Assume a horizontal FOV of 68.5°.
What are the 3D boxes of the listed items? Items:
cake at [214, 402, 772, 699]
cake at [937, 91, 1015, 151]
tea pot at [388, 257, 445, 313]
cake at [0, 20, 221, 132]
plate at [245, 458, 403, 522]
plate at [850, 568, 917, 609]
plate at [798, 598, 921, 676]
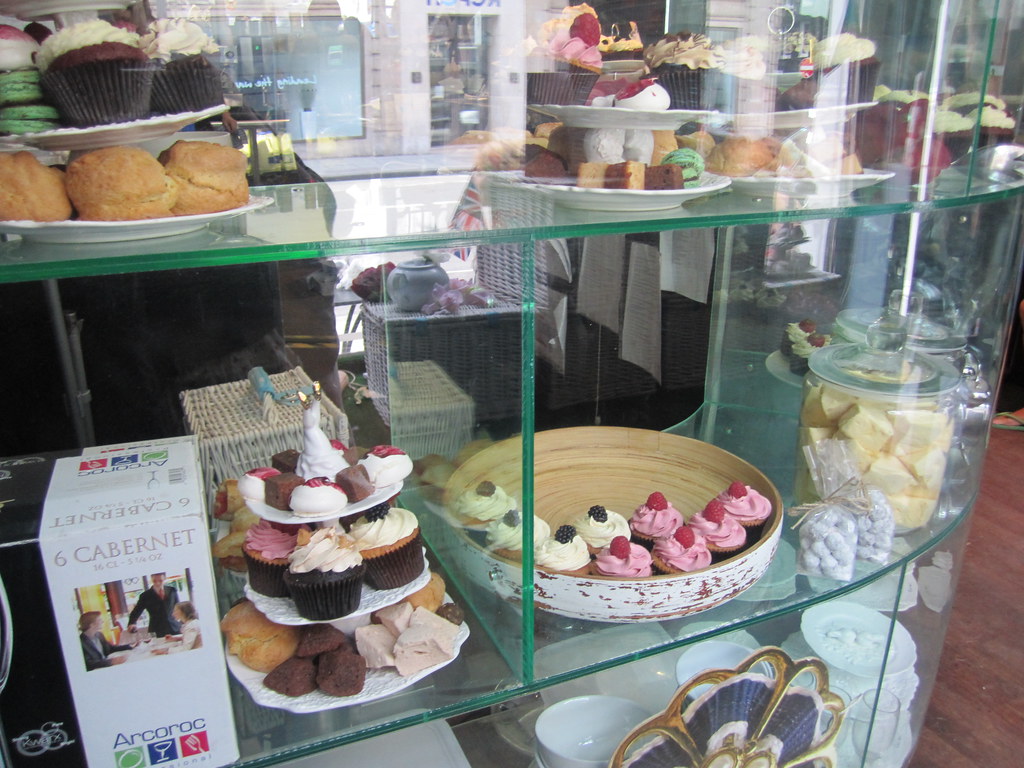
[{"bbox_3d":[0.019,0.234,1.140,0.826,0.085,0.417,0,18,-10],"label":"cake"},{"bbox_3d":[0.721,-0.391,1.165,0.136,0.030,0.097,9,56,-5],"label":"cake"},{"bbox_3d":[-0.147,-0.150,1.137,0.100,0.058,0.102,2,21,-1],"label":"tea pot"},{"bbox_3d":[-0.445,-0.334,0.873,0.187,0.070,0.153,-15,15,-41],"label":"cake"},{"bbox_3d":[-0.252,0.151,1.041,0.231,0.077,0.110,-5,25,-7],"label":"plate"},{"bbox_3d":[0.703,0.390,1.469,0.140,0.011,0.126,-12,5,-40],"label":"plate"},{"bbox_3d":[0.665,0.510,1.491,0.217,0.024,0.186,12,27,16],"label":"plate"}]
